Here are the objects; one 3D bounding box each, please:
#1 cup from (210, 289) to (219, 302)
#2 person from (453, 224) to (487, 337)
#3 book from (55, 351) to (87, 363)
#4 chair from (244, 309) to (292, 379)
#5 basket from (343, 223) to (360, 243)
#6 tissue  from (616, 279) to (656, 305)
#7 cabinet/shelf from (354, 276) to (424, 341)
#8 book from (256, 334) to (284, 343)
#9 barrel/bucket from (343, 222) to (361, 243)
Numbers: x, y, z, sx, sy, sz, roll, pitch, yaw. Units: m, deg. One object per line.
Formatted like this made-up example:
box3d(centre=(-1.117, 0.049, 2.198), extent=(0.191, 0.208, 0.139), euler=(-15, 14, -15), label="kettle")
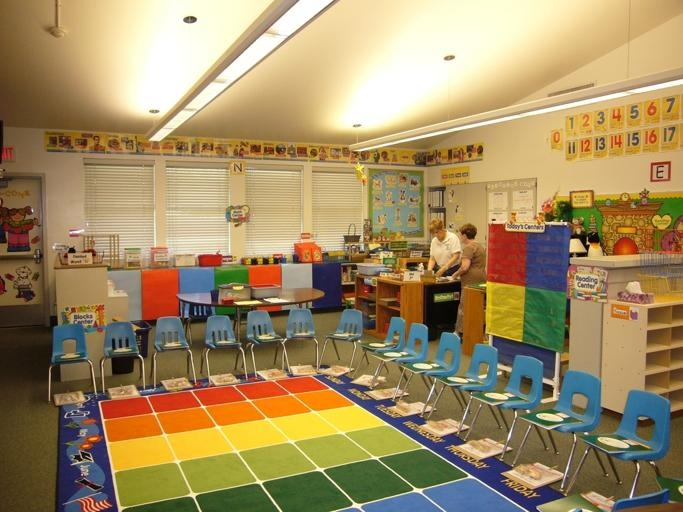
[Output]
box3d(centre=(-1.956, 0.612, 7.533), extent=(0.155, 0.171, 0.161), euler=(0, -3, 0), label="cup")
box3d(centre=(2.124, 0.380, 8.143), extent=(0.516, 1.862, 1.514), euler=(2, 8, 12), label="person")
box3d(centre=(-3.264, 1.216, 5.837), extent=(0.196, 0.054, 0.190), euler=(-1, 6, -23), label="book")
box3d(centre=(-1.247, 1.185, 7.141), extent=(0.735, 1.191, 0.912), euler=(-1, -3, -26), label="chair")
box3d(centre=(0.258, -0.524, 11.316), extent=(0.409, 0.441, 0.575), euler=(0, 8, 1), label="basket")
box3d(centre=(3.273, 0.395, 5.453), extent=(0.286, 0.189, 0.277), euler=(0, 2, 12), label="tissue ")
box3d(centre=(0.830, 0.873, 8.062), extent=(0.345, 0.744, 1.134), euler=(1, 1, -20), label="cabinet/shelf")
box3d(centre=(-1.030, 1.166, 6.929), extent=(0.314, 0.078, 0.303), euler=(0, 7, -25), label="book")
box3d(centre=(0.257, -0.500, 11.338), extent=(0.517, 0.479, 0.350), euler=(3, -5, -25), label="barrel/bucket")
